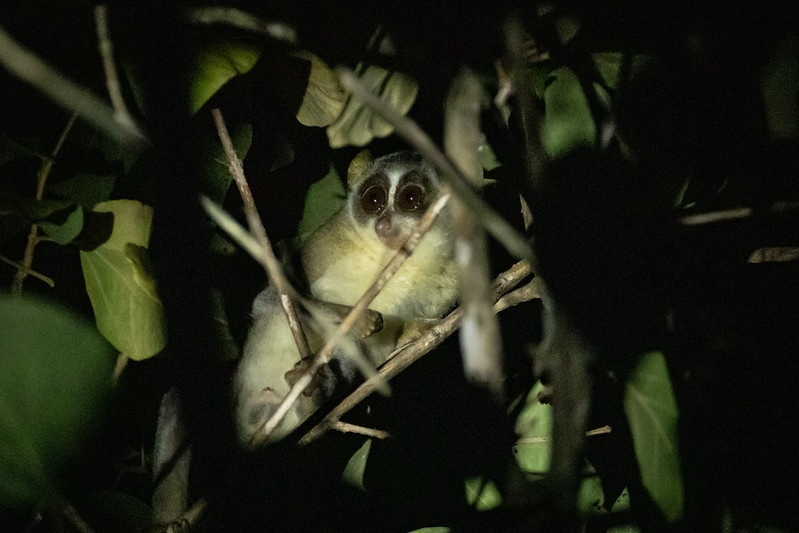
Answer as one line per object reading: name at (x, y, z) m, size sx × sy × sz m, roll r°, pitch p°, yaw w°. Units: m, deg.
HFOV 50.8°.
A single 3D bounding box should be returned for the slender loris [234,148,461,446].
slender loris at (-0.152, 0.022, 2.937) m, size 0.540 × 0.808 × 1.087 m, roll -6°, pitch 8°, yaw 24°
